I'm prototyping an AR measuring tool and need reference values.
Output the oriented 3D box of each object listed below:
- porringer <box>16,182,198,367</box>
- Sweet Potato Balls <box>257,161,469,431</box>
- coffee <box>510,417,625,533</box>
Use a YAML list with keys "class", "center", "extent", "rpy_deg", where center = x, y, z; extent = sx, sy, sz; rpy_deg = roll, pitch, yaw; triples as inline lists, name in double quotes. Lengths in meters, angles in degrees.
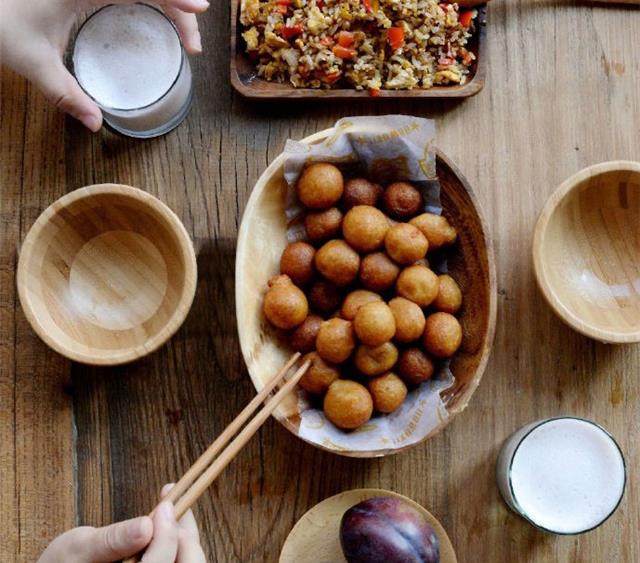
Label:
- class: "porringer"
  center: [-0.366, -0.007, 1.441]
  extent: [0.306, 0.115, 0.305]
  rpy_deg: [2, 80, 0]
- class: "Sweet Potato Balls"
  center: [0.079, 0.028, 1.374]
  extent: [0.350, 0.131, 0.437]
  rpy_deg: [11, 81, 1]
- class: "coffee"
  center: [0.451, 0.348, 1.478]
  extent: [0.189, 0.085, 0.216]
  rpy_deg: [-2, 90, 4]
